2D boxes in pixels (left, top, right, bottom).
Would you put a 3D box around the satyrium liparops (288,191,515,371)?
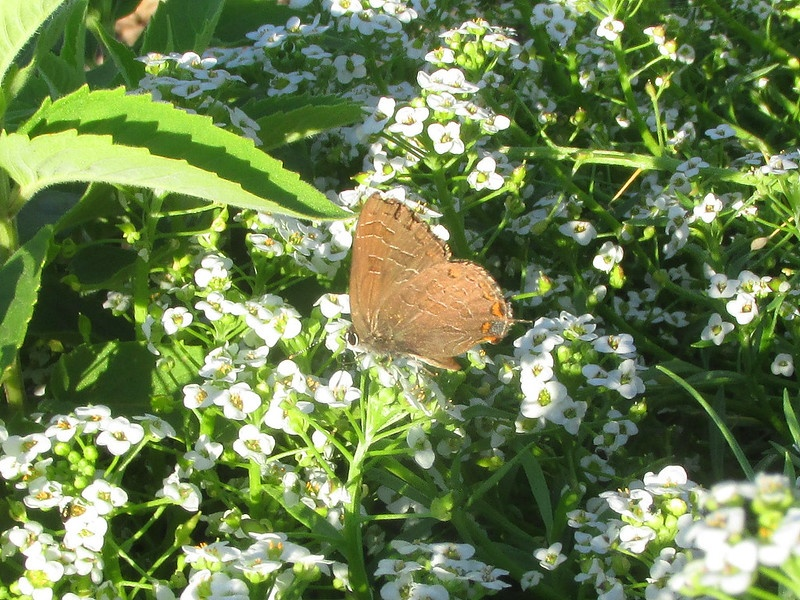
[{"bbox_3d":[0.018,-0.027,2.319,0.407,0.379,0.563,-21,4,9],"label":"satyrium liparops"}]
